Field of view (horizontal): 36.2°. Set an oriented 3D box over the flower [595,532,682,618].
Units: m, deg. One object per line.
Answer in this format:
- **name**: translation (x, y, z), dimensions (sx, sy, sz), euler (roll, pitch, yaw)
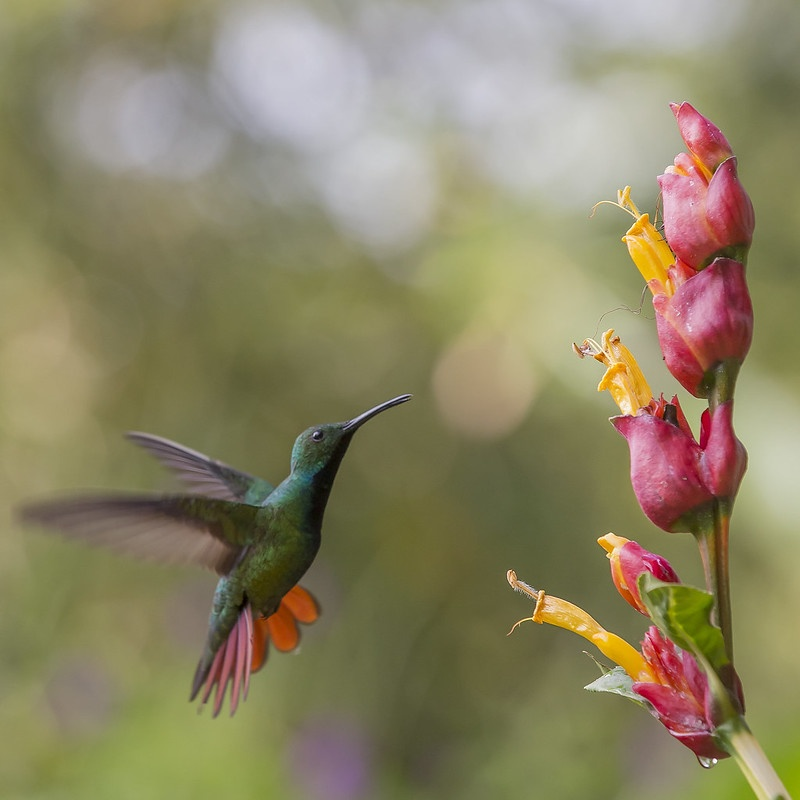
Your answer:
- **flower**: translation (0.372, 0.262, 1.958), dimensions (0.084, 0.067, 0.170), euler (-36, 64, -15)
